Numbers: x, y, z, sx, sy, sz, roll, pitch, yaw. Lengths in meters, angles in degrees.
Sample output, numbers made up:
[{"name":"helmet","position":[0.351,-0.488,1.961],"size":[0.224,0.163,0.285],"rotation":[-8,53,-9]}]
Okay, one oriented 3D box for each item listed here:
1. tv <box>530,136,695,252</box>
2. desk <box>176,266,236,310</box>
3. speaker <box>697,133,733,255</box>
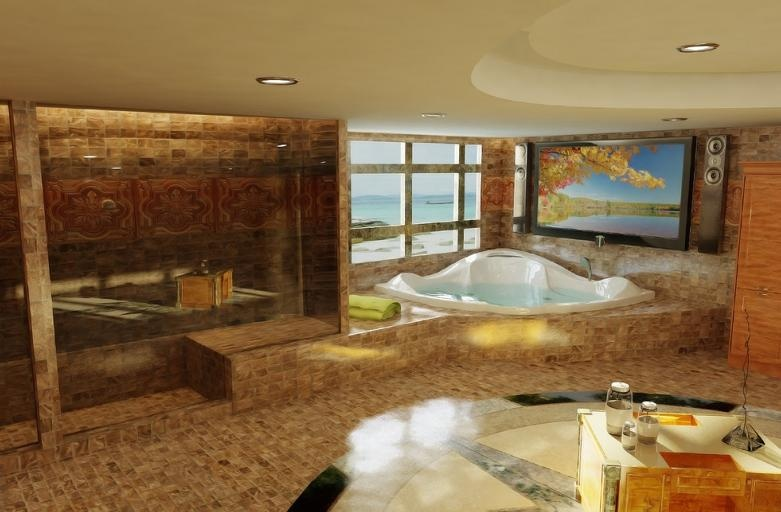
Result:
[{"name":"tv","position":[2.825,-0.791,5.980],"size":[2.189,0.971,0.240],"rotation":[6,11,42]},{"name":"desk","position":[-1.629,0.293,4.173],"size":[0.477,0.228,0.615],"rotation":[1,5,12]},{"name":"speaker","position":[3.535,-0.666,5.237],"size":[0.247,1.290,0.359],"rotation":[4,18,17]}]
